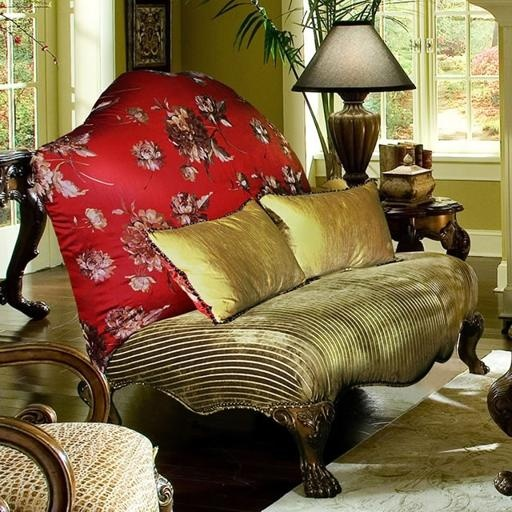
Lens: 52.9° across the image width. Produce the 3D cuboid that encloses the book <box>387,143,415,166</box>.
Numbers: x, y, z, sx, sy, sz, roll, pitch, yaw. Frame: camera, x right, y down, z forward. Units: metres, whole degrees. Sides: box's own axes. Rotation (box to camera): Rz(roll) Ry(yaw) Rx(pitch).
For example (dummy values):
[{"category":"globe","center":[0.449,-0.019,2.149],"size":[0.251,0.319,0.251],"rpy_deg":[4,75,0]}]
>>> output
[{"category":"book","center":[0.880,-0.626,3.205],"size":[0.164,0.156,0.188],"rpy_deg":[2,13,3]}]

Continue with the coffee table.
[{"category":"coffee table","center":[1.000,-0.197,2.917],"size":[0.409,0.372,0.469],"rpy_deg":[3,19,34]}]

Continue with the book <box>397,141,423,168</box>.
[{"category":"book","center":[0.950,-0.617,3.222],"size":[0.175,0.172,0.213],"rpy_deg":[3,10,14]}]
